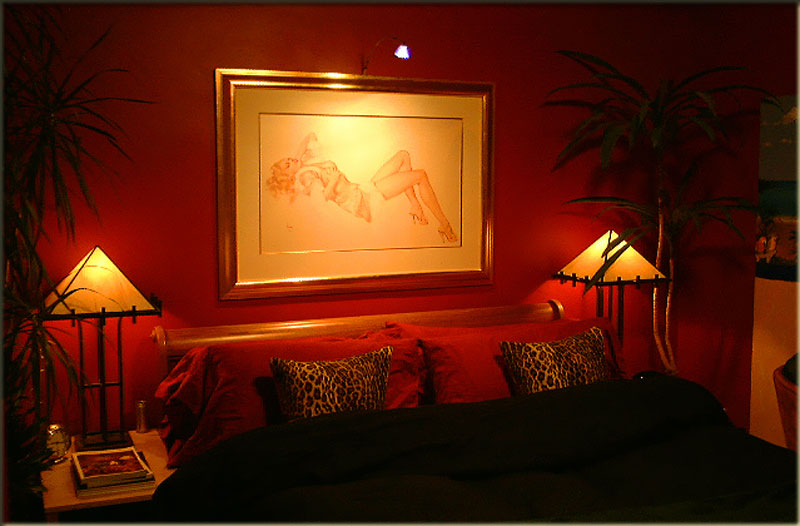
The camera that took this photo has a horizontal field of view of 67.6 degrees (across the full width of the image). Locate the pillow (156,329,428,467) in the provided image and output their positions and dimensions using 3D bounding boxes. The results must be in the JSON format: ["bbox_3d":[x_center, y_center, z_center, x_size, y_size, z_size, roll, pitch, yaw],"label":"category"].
[{"bbox_3d":[-0.817,0.950,3.501,1.657,0.566,0.593,-5,42,-14],"label":"pillow"}]

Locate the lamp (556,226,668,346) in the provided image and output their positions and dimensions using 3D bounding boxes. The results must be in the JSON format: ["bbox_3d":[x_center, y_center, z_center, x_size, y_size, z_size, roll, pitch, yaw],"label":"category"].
[{"bbox_3d":[1.432,0.128,4.435,0.730,0.944,0.692,-3,7,-16],"label":"lamp"}]

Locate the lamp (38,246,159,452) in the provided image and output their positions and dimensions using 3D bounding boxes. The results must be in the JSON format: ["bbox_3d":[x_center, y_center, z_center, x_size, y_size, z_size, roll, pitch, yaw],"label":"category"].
[{"bbox_3d":[-1.602,0.451,3.264,0.551,1.081,0.505,-3,4,-31],"label":"lamp"}]
